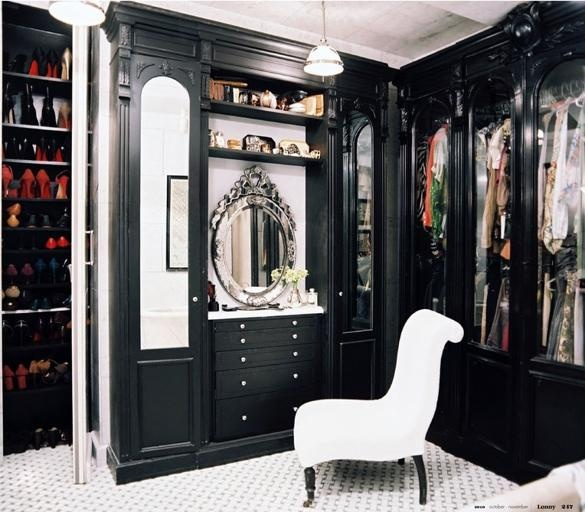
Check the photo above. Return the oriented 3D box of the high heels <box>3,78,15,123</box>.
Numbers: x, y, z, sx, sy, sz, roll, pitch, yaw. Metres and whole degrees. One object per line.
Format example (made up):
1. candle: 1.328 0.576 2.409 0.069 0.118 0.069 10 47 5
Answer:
1. high heels: -2.239 -1.215 4.070 0.109 0.396 0.125 0 -13 -26

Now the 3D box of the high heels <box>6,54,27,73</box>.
1. high heels: -2.173 -1.532 4.026 0.133 0.186 0.229 -3 8 -29

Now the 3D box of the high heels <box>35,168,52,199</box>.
1. high heels: -2.014 -0.592 4.122 0.105 0.242 0.250 -3 7 -27

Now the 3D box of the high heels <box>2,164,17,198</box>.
1. high heels: -2.254 -0.585 4.041 0.090 0.338 0.140 -3 2 -12

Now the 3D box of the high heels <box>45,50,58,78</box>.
1. high heels: -1.916 -1.543 4.060 0.095 0.239 0.137 -3 7 -27

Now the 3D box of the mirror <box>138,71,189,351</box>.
1. mirror: -0.889 -0.300 3.543 0.344 1.879 0.213 -1 6 -15

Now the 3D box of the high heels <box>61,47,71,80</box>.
1. high heels: -1.820 -1.545 4.091 0.075 0.308 0.103 -2 -9 -13

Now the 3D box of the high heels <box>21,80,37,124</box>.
1. high heels: -2.105 -1.215 4.063 0.118 0.327 0.141 -3 7 -28

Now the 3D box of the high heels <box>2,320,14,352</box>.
1. high heels: -2.237 0.612 4.009 0.091 0.184 0.236 -3 8 -30

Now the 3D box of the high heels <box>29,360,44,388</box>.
1. high heels: -2.084 0.932 4.109 0.087 0.192 0.216 -3 7 -29

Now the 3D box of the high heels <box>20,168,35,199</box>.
1. high heels: -2.121 -0.586 4.068 0.113 0.218 0.108 -2 7 -21

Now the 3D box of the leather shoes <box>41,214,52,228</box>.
1. leather shoes: -2.004 -0.292 4.136 0.074 0.099 0.208 -3 8 -27

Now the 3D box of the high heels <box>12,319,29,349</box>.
1. high heels: -2.154 0.611 4.062 0.110 0.216 0.197 6 -13 -20

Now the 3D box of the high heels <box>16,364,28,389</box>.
1. high heels: -2.129 0.948 4.010 0.078 0.184 0.148 -2 7 -22

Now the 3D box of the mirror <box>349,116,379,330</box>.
1. mirror: 0.578 -0.276 4.249 0.220 1.840 0.072 -3 16 -13

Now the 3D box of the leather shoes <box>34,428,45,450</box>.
1. leather shoes: -1.982 1.402 3.981 0.070 0.141 0.225 -3 8 -26

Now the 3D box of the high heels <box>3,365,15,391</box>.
1. high heels: -2.222 0.957 3.972 0.118 0.168 0.075 3 7 25

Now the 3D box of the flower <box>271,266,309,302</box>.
1. flower: 0.007 0.258 4.291 0.180 0.323 0.253 2 -2 -38

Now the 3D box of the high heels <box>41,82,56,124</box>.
1. high heels: -1.972 -1.206 4.108 0.092 0.360 0.124 2 -15 -30

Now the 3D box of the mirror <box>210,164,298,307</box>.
1. mirror: -0.352 -0.156 4.173 0.985 1.649 0.075 0 -2 -41
